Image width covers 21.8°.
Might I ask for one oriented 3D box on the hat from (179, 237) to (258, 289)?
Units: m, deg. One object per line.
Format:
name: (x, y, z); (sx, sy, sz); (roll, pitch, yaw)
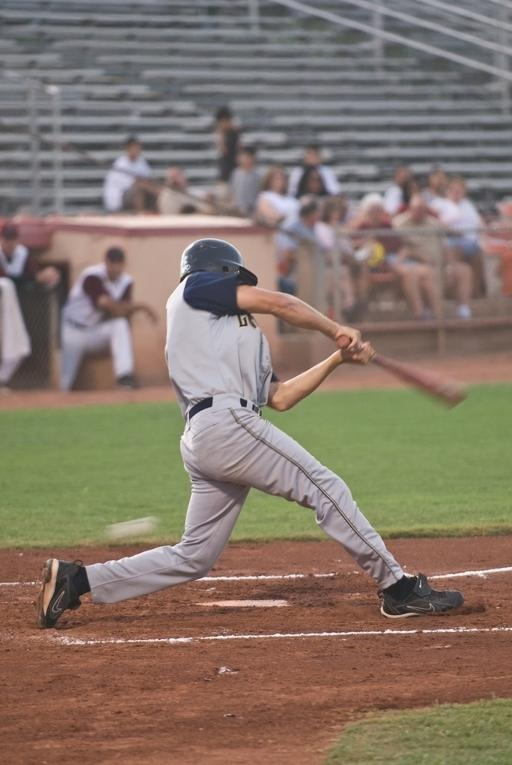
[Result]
hat: (-0.146, -0.458, 5.108); (0.280, 0.134, 0.167); (2, -1, -5)

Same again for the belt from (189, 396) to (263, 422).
belt: (-0.123, 0.100, 5.036); (0.282, 0.101, 0.188); (1, 3, -4)

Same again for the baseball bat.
baseball bat: (0.926, -0.061, 8.282); (0.984, 0.178, 0.187); (22, 14, -23)

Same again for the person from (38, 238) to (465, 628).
person: (-0.032, 0.212, 5.141); (1.561, 1.516, 0.388); (0, 4, -10)

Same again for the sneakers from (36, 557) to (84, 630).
sneakers: (-0.744, 0.798, 5.127); (0.165, 0.315, 0.112); (8, 14, -16)

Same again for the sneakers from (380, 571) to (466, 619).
sneakers: (0.642, 0.852, 5.339); (0.397, 0.158, 0.130); (-4, 3, -12)

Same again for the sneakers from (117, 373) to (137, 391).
sneakers: (-1.066, -0.047, 11.104); (0.112, 0.087, 0.341); (7, -10, -10)
